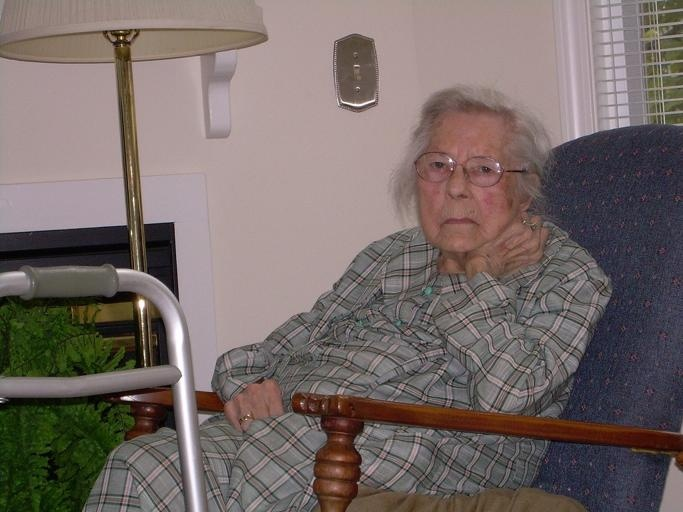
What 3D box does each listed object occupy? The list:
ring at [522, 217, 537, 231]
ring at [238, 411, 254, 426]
[{"bbox_3d":[0.542,-0.094,1.752,0.032,0.017,0.040,2,19,-21],"label":"ring"},{"bbox_3d":[-0.237,0.412,1.543,0.037,0.032,0.028,13,13,27],"label":"ring"}]
